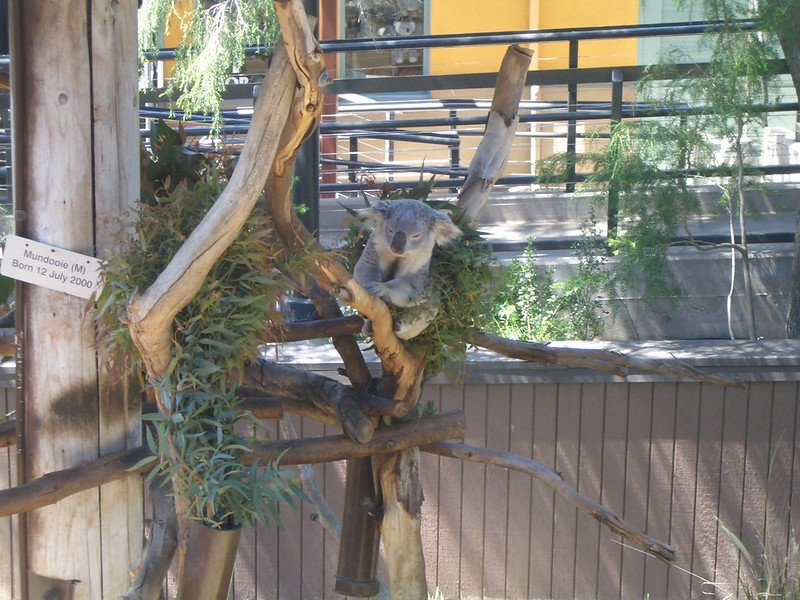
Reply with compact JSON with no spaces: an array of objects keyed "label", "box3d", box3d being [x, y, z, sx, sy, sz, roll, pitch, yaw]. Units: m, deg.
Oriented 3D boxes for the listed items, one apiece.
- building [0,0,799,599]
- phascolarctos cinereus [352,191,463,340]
[{"label":"building","box3d":[-0.362,0.043,9.535,2.898,2.946,1.129,-2,26,-23]},{"label":"phascolarctos cinereus","box3d":[-0.011,-0.189,9.673,0.472,0.694,0.512,7,13,-26]}]
